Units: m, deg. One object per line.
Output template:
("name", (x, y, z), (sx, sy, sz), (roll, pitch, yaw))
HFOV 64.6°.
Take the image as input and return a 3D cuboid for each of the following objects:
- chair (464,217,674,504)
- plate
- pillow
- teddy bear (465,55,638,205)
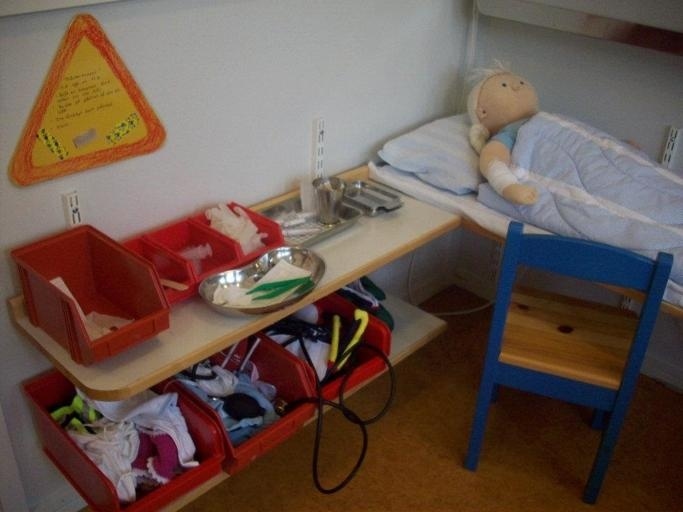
("chair", (0.685, 0.291, 1.733), (0.484, 0.962, 0.415), (6, 31, 20))
("plate", (-0.210, 0.061, 1.500), (0.262, 0.057, 0.183), (-26, 46, -32))
("pillow", (0.347, -0.372, 1.982), (0.290, 0.082, 0.301), (-33, 52, -29))
("teddy bear", (0.673, -0.485, 1.983), (0.493, 0.263, 0.580), (-21, 51, -17))
